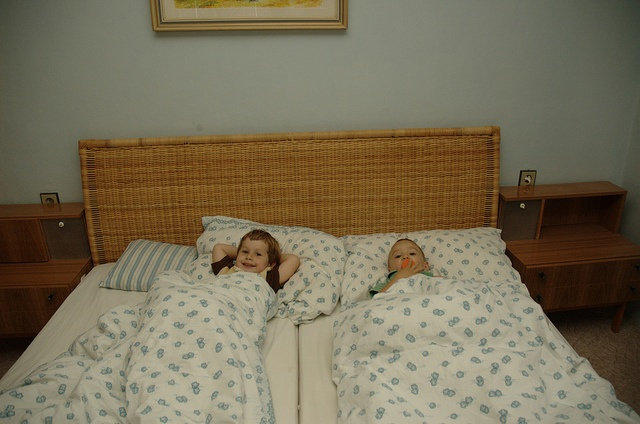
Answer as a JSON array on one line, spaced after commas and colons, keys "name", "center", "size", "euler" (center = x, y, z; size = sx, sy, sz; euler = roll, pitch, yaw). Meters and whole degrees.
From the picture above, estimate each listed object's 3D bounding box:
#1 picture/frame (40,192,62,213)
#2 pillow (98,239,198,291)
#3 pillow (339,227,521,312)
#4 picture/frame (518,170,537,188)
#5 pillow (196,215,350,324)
[{"name": "picture/frame", "center": [-1.738, -0.059, 2.945], "size": [0.166, 0.178, 0.013], "euler": [2, 31, -9]}, {"name": "pillow", "center": [-1.058, 0.335, 2.867], "size": [0.567, 0.268, 0.245], "euler": [0, 14, 4]}, {"name": "pillow", "center": [0.641, 0.352, 2.869], "size": [0.895, 0.226, 0.469], "euler": [-3, 44, -1]}, {"name": "picture/frame", "center": [1.393, -0.223, 3.081], "size": [0.137, 0.122, 0.044], "euler": [0, 30, 5]}, {"name": "pillow", "center": [-0.088, 0.320, 2.849], "size": [0.634, 0.197, 0.725], "euler": [-4, 38, -7]}]
